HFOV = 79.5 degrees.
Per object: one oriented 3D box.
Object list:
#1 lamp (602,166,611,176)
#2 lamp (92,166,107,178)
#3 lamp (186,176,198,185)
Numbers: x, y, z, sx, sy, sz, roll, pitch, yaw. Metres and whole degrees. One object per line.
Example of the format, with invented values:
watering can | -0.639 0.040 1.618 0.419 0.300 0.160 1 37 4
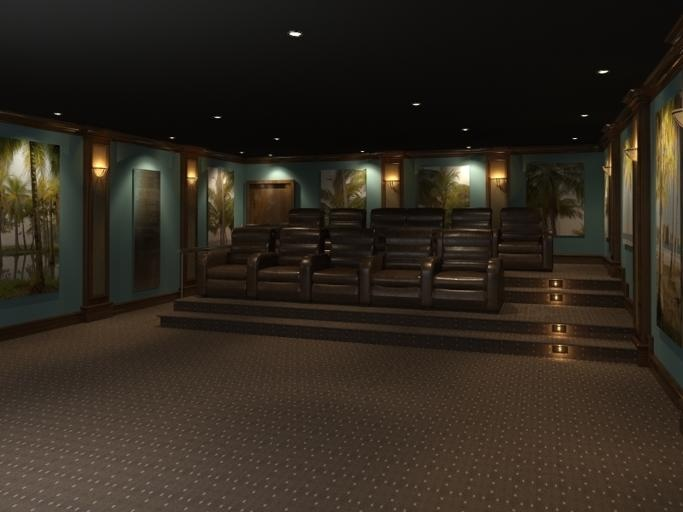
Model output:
lamp | 5.467 -1.700 8.376 0.115 0.196 1.627 3 7 33
lamp | -4.335 -1.514 7.385 0.164 0.167 0.164 1 1 19
lamp | -3.382 -1.725 9.364 0.148 0.115 0.145 -1 -4 -4
